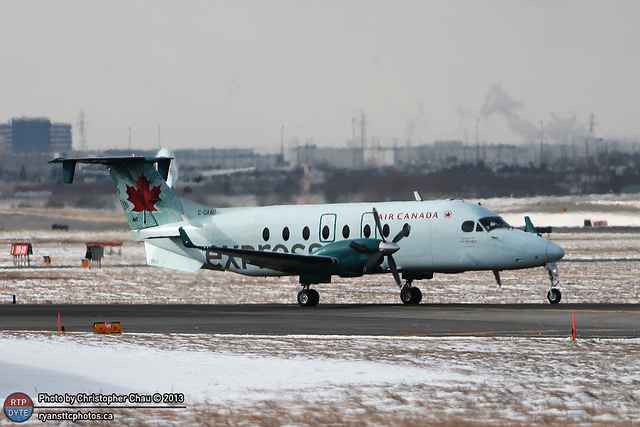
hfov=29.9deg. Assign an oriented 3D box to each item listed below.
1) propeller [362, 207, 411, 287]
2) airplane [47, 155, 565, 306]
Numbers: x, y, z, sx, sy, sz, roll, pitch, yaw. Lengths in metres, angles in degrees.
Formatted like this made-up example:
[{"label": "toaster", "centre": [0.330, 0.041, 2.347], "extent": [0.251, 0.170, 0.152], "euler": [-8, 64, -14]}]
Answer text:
[{"label": "propeller", "centre": [2.649, 1.449, 48.603], "extent": [1.393, 2.832, 1.953], "euler": [2, -1, -7]}, {"label": "airplane", "centre": [2.418, 0.541, 59.121], "extent": [22.634, 6.123, 8.048], "euler": [0, 1, 8]}]
